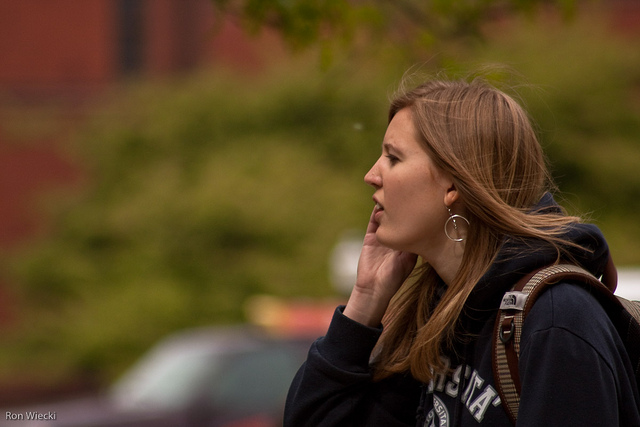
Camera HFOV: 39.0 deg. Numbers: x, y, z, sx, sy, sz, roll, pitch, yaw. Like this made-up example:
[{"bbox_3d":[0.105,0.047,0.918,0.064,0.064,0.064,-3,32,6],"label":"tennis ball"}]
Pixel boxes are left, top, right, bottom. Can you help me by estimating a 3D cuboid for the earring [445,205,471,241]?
[{"bbox_3d":[0.595,0.045,4.017,0.155,0.096,0.037,61,5,0],"label":"earring"}]
